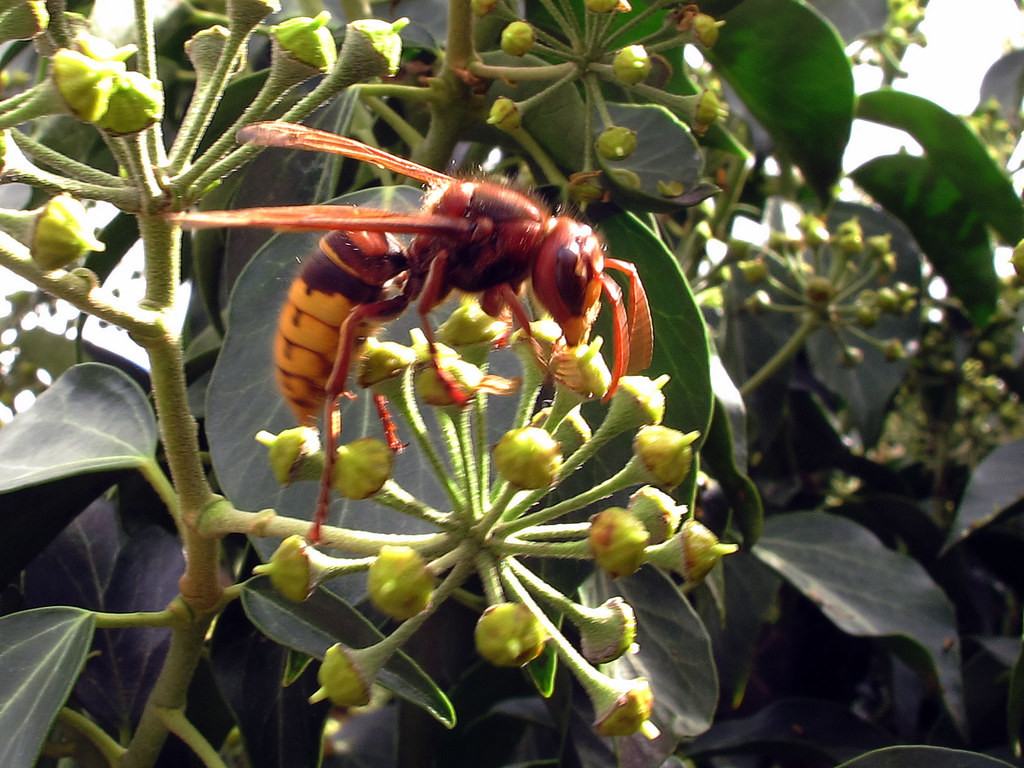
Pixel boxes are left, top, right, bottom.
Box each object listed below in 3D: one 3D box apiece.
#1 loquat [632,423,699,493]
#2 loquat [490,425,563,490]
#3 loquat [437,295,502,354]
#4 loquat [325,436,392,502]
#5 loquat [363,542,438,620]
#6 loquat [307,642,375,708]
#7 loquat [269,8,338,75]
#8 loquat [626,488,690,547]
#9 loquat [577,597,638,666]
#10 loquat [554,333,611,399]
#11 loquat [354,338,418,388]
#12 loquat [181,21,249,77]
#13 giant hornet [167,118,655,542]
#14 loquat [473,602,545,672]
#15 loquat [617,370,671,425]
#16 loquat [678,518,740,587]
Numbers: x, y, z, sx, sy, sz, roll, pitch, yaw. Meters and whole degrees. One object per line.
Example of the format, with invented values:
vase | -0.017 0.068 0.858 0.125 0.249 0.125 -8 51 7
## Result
loquat | 0.217 0.101 1.604 0.082 0.088 0.079 8 -32 7
loquat | 0.019 0.101 1.575 0.087 0.083 0.045 23 -4 -3
loquat | -0.067 -0.090 1.674 0.080 0.076 0.026 -30 -27 -13
loquat | -0.204 0.122 1.583 0.075 0.083 0.054 -9 -43 48
loquat | -0.154 0.260 1.534 0.080 0.098 0.076 -9 -51 -14
loquat | -0.231 0.413 1.541 0.076 0.079 0.067 6 -33 9
loquat | -0.290 -0.485 1.557 0.074 0.077 0.079 3 -33 14
loquat | 0.197 0.178 1.569 0.087 0.065 0.066 33 -3 -2
loquat | 0.129 0.361 1.583 0.090 0.084 0.055 -32 -53 31
loquat | 0.105 -0.026 1.629 0.096 0.098 0.031 18 -33 -9
loquat | -0.188 -0.032 1.633 0.080 0.075 0.035 12 -32 0
loquat | -0.428 -0.470 1.584 0.092 0.096 0.036 8 -1 0
giant hornet | -0.128 -0.137 1.766 0.809 0.435 0.385 -9 -2 21
loquat | -0.004 0.342 1.501 0.081 0.090 0.056 -27 -12 0
loquat | 0.198 0.019 1.681 0.050 0.080 0.050 46 -21 22
loquat | 0.266 0.236 1.579 0.080 0.098 0.070 20 -33 -11
